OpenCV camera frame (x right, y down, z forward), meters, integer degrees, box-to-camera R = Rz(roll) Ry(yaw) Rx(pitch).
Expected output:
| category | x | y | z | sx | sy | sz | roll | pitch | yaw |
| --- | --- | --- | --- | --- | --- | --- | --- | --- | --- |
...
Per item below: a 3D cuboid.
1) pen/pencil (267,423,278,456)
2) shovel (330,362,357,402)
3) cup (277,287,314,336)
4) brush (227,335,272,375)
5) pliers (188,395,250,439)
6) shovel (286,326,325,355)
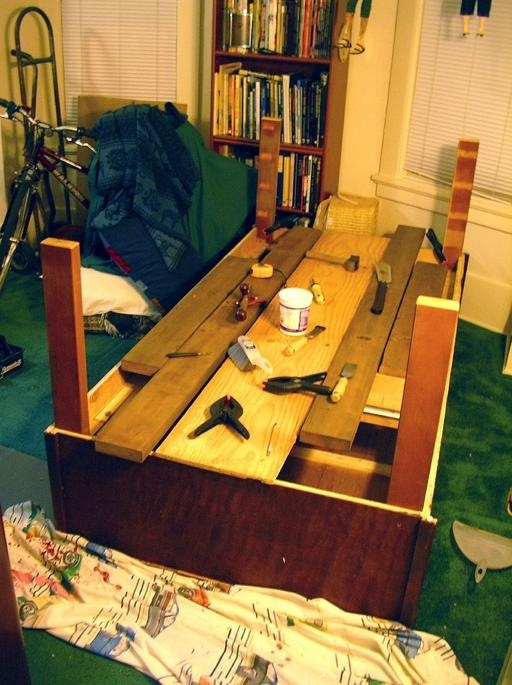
| category | x | y | z | sx | sy | sz | roll | pitch | yaw |
| --- | --- | --- | --- | --- | --- | --- | --- | --- | --- |
| pen/pencil | 0.039 | 0.234 | 1.292 | 0.011 | 0.006 | 0.089 | 10 | 27 | 8 |
| shovel | 0.235 | 0.101 | 1.465 | 0.038 | 0.025 | 0.182 | 4 | 24 | 11 |
| cup | 0.131 | -0.096 | 1.782 | 0.115 | 0.107 | 0.154 | 12 | 30 | 16 |
| brush | -0.025 | 0.044 | 1.630 | 0.130 | 0.054 | 0.148 | -5 | 26 | -18 |
| pliers | -0.080 | 0.188 | 1.372 | 0.146 | 0.075 | 0.188 | 7 | 26 | 2 |
| shovel | 0.160 | -0.025 | 1.748 | 0.055 | 0.030 | 0.216 | 12 | 26 | 23 |
